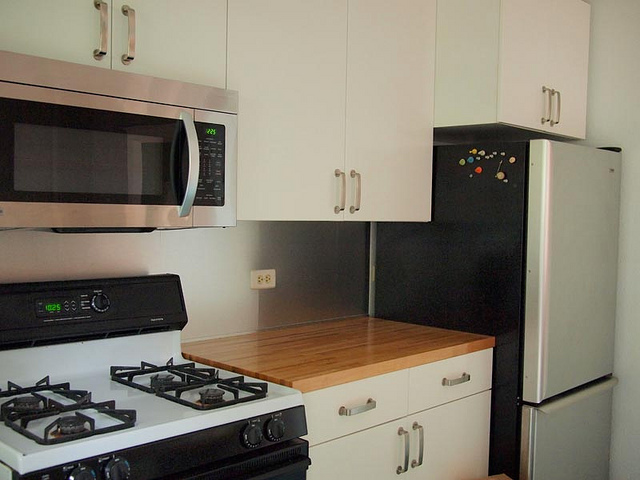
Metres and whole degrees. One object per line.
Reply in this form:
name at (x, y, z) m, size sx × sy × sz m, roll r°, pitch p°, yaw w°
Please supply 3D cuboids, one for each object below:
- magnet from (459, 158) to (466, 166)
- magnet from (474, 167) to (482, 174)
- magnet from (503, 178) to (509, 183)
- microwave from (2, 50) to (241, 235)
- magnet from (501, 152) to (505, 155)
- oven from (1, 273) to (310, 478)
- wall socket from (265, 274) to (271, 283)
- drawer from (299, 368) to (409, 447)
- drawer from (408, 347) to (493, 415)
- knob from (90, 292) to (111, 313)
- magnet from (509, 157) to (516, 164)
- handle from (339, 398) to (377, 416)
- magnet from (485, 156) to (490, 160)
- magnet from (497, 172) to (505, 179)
magnet at (0.677, -0.372, 2.490) m, size 0.007 × 0.029 × 0.028 m, roll 0°, pitch 26°, yaw -45°
magnet at (0.735, -0.325, 2.432) m, size 0.006 × 0.023 × 0.034 m, roll -5°, pitch 6°, yaw -38°
magnet at (0.833, -0.267, 2.348) m, size 0.020 × 0.020 × 0.005 m, roll 1°, pitch 3°, yaw 35°
microwave at (-0.655, -0.286, 1.664) m, size 0.761 × 0.502 × 0.470 m, roll -1°, pitch 3°, yaw -44°
magnet at (0.821, -0.387, 2.352) m, size 0.014 × 0.014 × 0.008 m, roll 6°, pitch 13°, yaw 34°
oven at (-0.550, 0.424, 1.645) m, size 0.489 × 0.674 × 0.681 m, roll 0°, pitch 0°, yaw 40°
wall socket at (-0.246, 0.176, 2.410) m, size 0.005 × 0.051 × 0.036 m, roll 1°, pitch 2°, yaw 38°
drawer at (0.090, 0.587, 2.059) m, size 0.430 × 0.196 × 0.331 m, roll -8°, pitch 9°, yaw -18°
drawer at (0.517, 0.602, 2.407) m, size 0.469 × 0.201 × 0.365 m, roll -5°, pitch -1°, yaw -27°
knob at (-0.751, 0.216, 1.797) m, size 0.019 × 0.064 × 0.062 m, roll -11°, pitch -7°, yaw 39°
magnet at (0.856, -0.356, 2.328) m, size 0.022 × 0.024 × 0.005 m, roll 2°, pitch 6°, yaw 35°
handle at (0.149, 0.613, 1.916) m, size 0.193 × 0.048 × 0.031 m, roll -5°, pitch 6°, yaw -39°
magnet at (0.767, -0.378, 2.400) m, size 0.017 × 0.018 × 0.004 m, roll -1°, pitch 3°, yaw -10°
magnet at (0.815, -0.290, 2.360) m, size 0.031 × 0.029 × 0.006 m, roll 2°, pitch 6°, yaw 30°
